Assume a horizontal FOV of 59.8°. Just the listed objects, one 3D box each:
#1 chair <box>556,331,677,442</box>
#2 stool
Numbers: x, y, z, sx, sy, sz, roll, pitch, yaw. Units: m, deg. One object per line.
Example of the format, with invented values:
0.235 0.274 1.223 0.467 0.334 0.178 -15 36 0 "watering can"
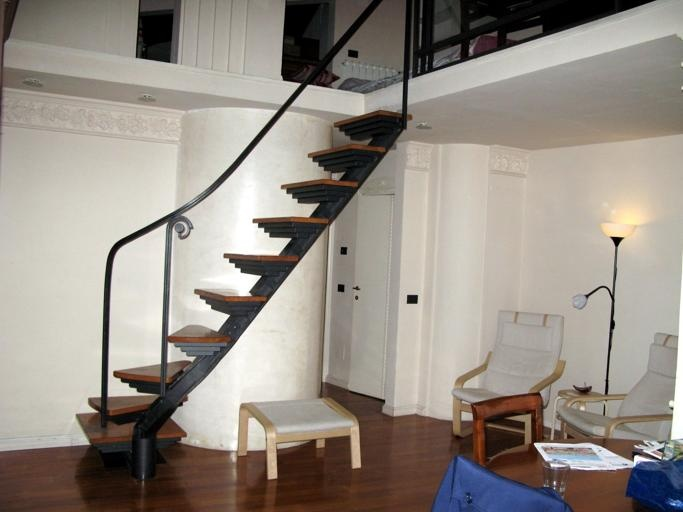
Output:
2.425 1.156 5.066 0.935 0.956 0.766 1 5 -4 "chair"
-0.356 1.550 5.209 0.988 0.518 0.836 0 5 -24 "stool"
